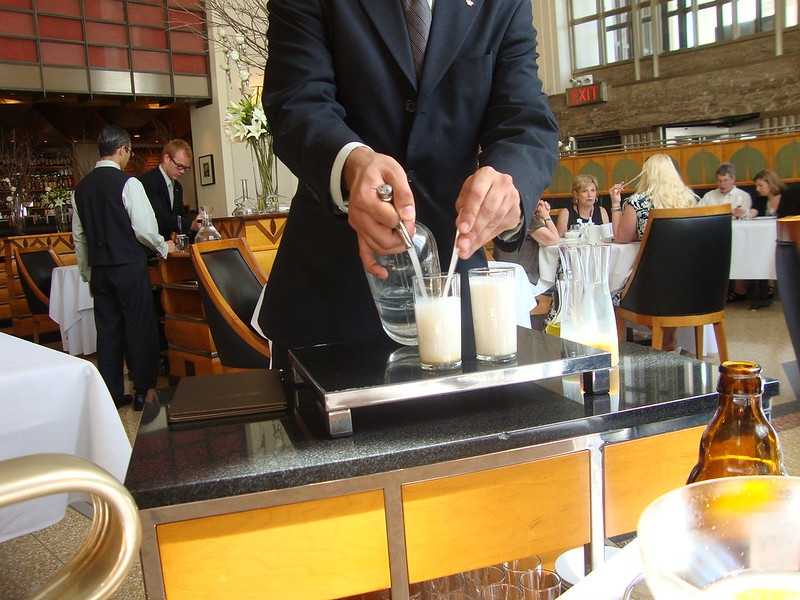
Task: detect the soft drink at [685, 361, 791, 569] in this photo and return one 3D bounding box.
[{"bbox_3d":[0.330,0.143,0.604,0.127,0.210,0.129,-1,13,33],"label":"soft drink"}]

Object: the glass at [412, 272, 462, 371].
[{"bbox_3d":[0.070,0.035,0.912,0.085,0.145,0.060,-6,1,-12],"label":"glass"}]

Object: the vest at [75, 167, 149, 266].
[{"bbox_3d":[-2.002,-0.559,3.946,0.456,0.713,0.222,-6,1,14],"label":"vest"}]
